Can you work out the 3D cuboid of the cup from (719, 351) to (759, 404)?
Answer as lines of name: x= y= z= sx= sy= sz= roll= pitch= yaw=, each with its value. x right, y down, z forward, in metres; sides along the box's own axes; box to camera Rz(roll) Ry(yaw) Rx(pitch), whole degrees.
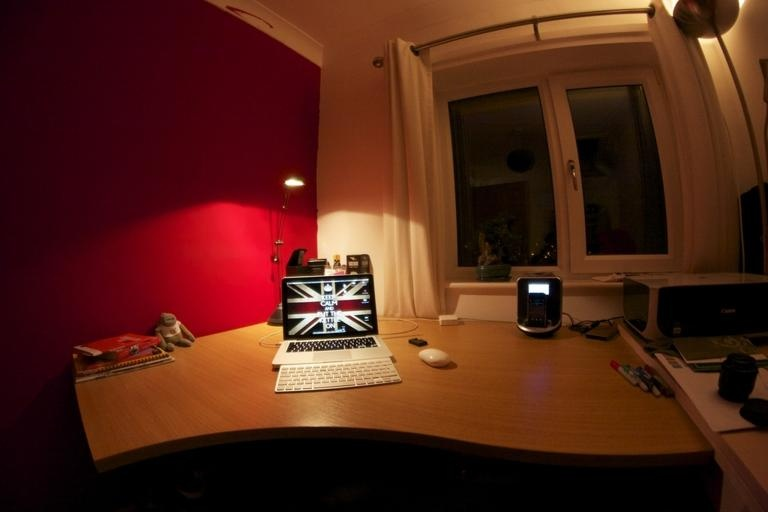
cup: x=1.485 y=0.513 z=2.235 sx=0.141 sy=0.184 sz=0.092 roll=-1 pitch=3 yaw=26

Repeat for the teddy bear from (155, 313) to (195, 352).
teddy bear: x=-1.097 y=0.385 z=2.837 sx=0.163 sy=0.226 sz=0.197 roll=-4 pitch=0 yaw=27

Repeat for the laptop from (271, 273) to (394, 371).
laptop: x=-0.293 y=0.296 z=2.821 sx=0.504 sy=0.357 sz=0.447 roll=-2 pitch=3 yaw=-7
